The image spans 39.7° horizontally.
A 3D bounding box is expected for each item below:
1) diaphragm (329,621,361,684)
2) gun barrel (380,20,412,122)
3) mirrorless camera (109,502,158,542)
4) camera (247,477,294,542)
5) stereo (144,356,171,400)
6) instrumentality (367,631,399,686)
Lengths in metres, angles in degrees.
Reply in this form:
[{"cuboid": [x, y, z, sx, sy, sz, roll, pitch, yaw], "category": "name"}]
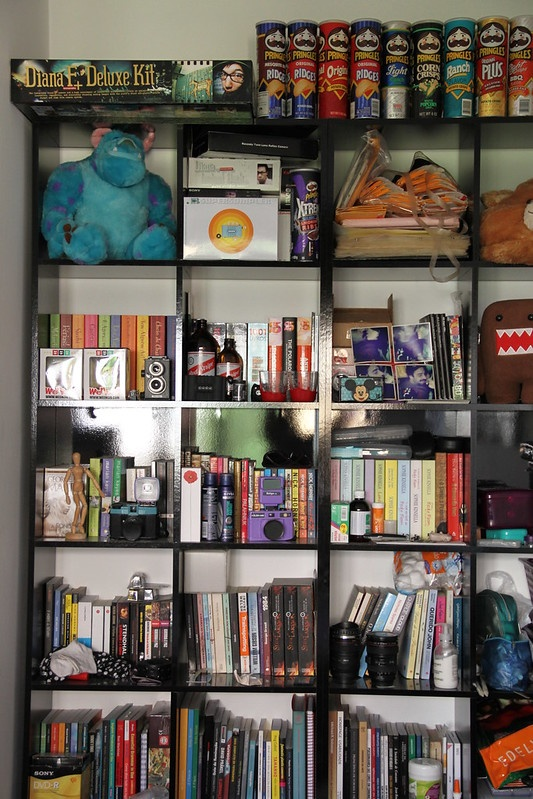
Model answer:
[{"cuboid": [0.215, 0.707, 2.047, 0.088, 0.151, 0.089, -5, -13, 32], "category": "diaphragm"}, {"cuboid": [0.352, -0.892, 2.008, 0.102, 0.248, 0.107, -1, 11, 0], "category": "gun barrel"}, {"cuboid": [-0.368, 0.335, 2.037, 0.140, 0.109, 0.090, 0, -4, 1], "category": "mirrorless camera"}, {"cuboid": [0.011, 0.300, 2.051, 0.128, 0.186, 0.095, 0, -5, -7], "category": "camera"}, {"cuboid": [-0.303, -0.058, 2.044, 0.075, 0.120, 0.054, -1, -1, -8], "category": "stereo"}, {"cuboid": [0.319, 0.711, 2.039, 0.091, 0.136, 0.085, 4, -6, -22], "category": "instrumentality"}]
